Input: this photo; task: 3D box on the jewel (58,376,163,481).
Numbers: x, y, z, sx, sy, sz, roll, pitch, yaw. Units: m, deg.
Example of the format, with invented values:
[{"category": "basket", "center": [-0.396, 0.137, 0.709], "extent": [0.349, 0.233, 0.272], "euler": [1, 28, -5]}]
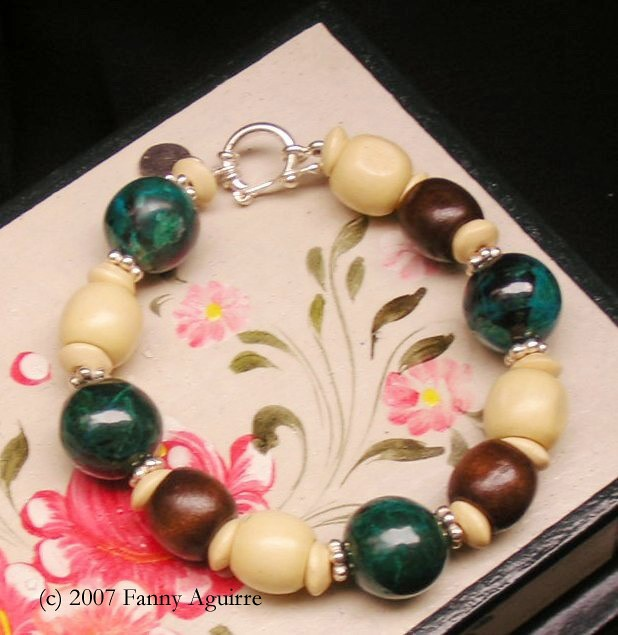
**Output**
[{"category": "jewel", "center": [-0.198, 0.102, 0.670], "extent": [0.077, 0.064, 0.078], "euler": [29, 69, 28]}]

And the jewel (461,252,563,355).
[{"category": "jewel", "center": [0.198, -0.014, 0.762], "extent": [0.117, 0.094, 0.105], "euler": [-14, 18, -32]}]

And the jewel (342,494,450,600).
[{"category": "jewel", "center": [0.070, 0.191, 0.639], "extent": [0.108, 0.087, 0.080], "euler": [-2, 96, 2]}]
